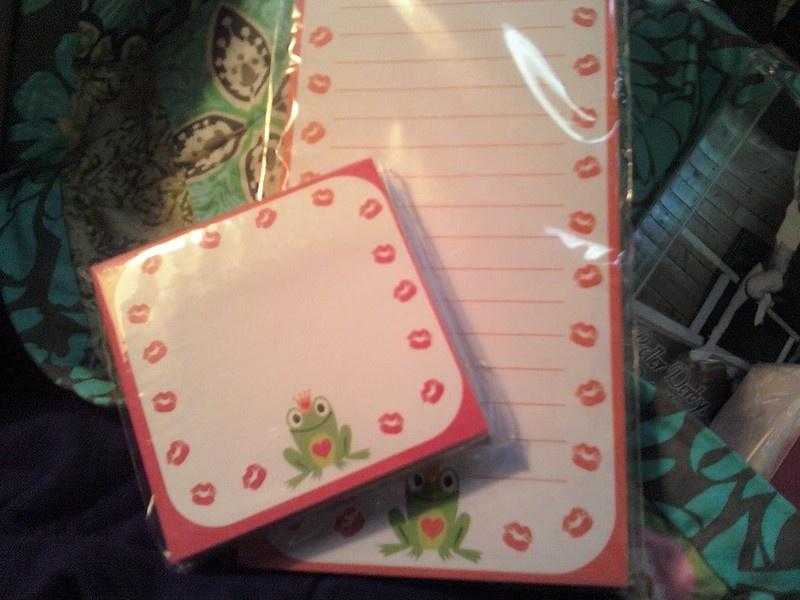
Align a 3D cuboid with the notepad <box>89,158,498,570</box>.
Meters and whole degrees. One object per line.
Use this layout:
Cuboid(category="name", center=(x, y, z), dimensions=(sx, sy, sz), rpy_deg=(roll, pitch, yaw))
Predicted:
Cuboid(category="notepad", center=(-0.213, 0.090, 1.474), dimensions=(0.603, 0.220, 0.526), rpy_deg=(-20, 59, -4))
